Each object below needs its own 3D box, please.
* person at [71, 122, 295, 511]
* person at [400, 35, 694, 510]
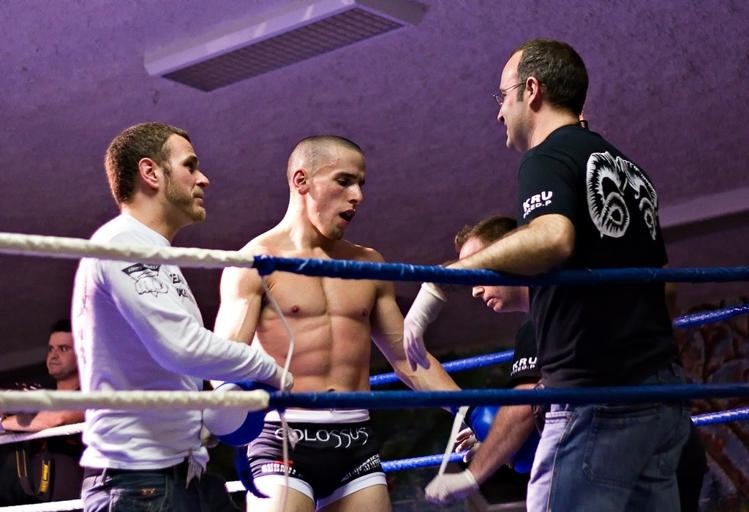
[{"bbox_3d":[-0.924,0.254,3.276,0.793,1.665,0.570,-6,1,-9],"label":"person"},{"bbox_3d":[0.773,0.076,3.160,1.022,1.592,0.497,-5,1,5],"label":"person"}]
